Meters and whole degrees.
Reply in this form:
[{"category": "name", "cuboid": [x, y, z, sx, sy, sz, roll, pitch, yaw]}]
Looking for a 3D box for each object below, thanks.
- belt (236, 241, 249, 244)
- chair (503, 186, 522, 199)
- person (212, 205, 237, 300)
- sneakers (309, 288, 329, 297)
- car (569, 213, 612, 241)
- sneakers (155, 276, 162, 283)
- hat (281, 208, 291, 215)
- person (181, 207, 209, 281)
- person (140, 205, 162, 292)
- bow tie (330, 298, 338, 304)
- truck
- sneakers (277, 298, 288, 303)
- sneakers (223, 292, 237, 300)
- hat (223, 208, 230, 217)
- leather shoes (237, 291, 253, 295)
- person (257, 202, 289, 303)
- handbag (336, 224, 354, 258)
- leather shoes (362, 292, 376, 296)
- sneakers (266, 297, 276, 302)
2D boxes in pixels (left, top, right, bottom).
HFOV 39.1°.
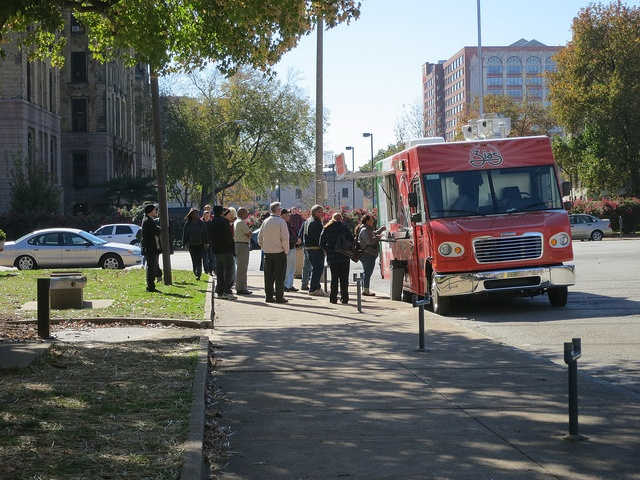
[{"category": "belt", "cuboid": [-1.806, 0.044, 20.895, 0.300, 0.063, 0.204, -1, 1, -12]}, {"category": "chair", "cuboid": [3.802, -0.953, 17.895, 0.436, 0.275, 0.229, 0, 8, 8]}, {"category": "person", "cuboid": [-2.198, 0.257, 20.293, 0.521, 2.097, 0.642, -1, 1, -7]}, {"category": "sneakers", "cuboid": [-0.051, 1.223, 21.252, 0.425, 0.156, 0.160, 0, 3, -8]}, {"category": "car", "cuboid": [13.061, -0.646, 43.870, 2.253, 1.292, 1.211, -1, 1, -29]}, {"category": "sneakers", "cuboid": [-4.298, 1.030, 23.804, 0.159, 0.117, 0.198, -15, 1, -27]}, {"category": "hat", "cuboid": [-0.880, -0.715, 22.171, 0.158, 0.103, 0.191, -1, -2, -12]}, {"category": "person", "cuboid": [-3.395, 0.096, 24.281, 0.636, 1.890, 1.075, -1, 1, -9]}, {"category": "person", "cuboid": [-3.932, 0.156, 20.928, 0.434, 2.006, 1.333, -1, 1, -11]}, {"category": "bow tie", "cuboid": [0.282, 1.303, 19.490, 0.179, 0.166, 0.094, 1, 8, 9]}, {"category": "truck", "cuboid": [3.025, -0.353, 19.533, 2.627, 2.557, 4.871, -2, -5, -9]}, {"category": "sneakers", "cuboid": [-0.822, 1.293, 19.658, 0.219, 0.107, 0.463, -1, 1, 17]}, {"category": "sneakers", "cuboid": [-2.070, 1.267, 20.324, 0.354, 0.138, 0.125, 1, 3, 10]}, {"category": "hat", "cuboid": [-2.273, -0.674, 21.409, 0.153, 0.181, 0.183, 11, -6, 37]}, {"category": "leather shoes", "cuboid": [-1.803, 1.228, 21.485, 0.368, 0.147, 0.109, -1, 4, -14]}, {"category": "person", "cuboid": [-1.028, 0.393, 19.677, 0.633, 1.909, 0.488, -1, 1, 3]}, {"category": "handbag", "cuboid": [0.512, 0.028, 19.390, 0.272, 0.677, 0.610, -9, -16, 35]}, {"category": "leather shoes", "cuboid": [1.142, 1.257, 21.273, 0.283, 0.096, 0.098, 0, 0, 3]}, {"category": "sneakers", "cuboid": [-1.078, 1.272, 19.664, 0.229, 0.135, 0.366, -1, 1, -5]}]
